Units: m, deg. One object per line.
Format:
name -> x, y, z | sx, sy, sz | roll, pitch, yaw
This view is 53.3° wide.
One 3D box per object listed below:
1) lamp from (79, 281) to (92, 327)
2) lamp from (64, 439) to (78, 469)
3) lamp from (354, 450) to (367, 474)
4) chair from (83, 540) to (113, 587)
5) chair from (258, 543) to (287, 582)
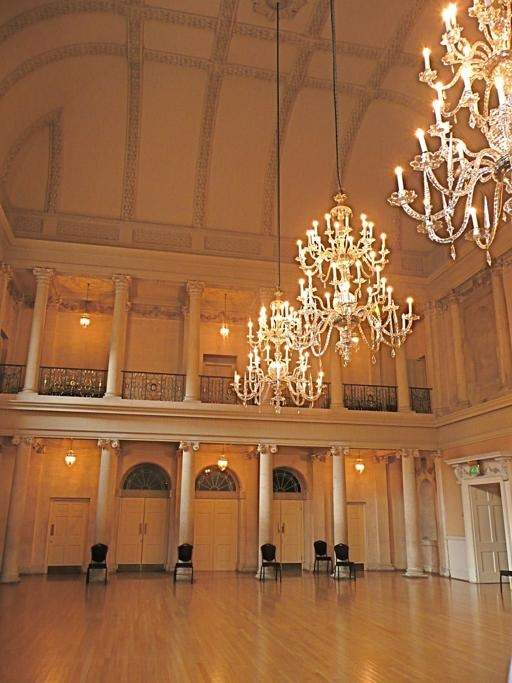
lamp -> -4.558, -0.836, 13.761 | 0.305, 1.179, 1.086 | 9, -20, -19
lamp -> -4.646, 2.809, 12.858 | 0.324, 0.658, 0.977 | 9, -20, -18
lamp -> 2.923, 3.432, 14.391 | 0.373, 0.597, 0.688 | -3, -19, 14
chair -> -3.271, 4.602, 10.636 | 0.444, 0.781, 1.320 | 7, -19, -15
chair -> 0.309, 4.882, 11.347 | 0.484, 0.756, 0.968 | 2, -19, 1
